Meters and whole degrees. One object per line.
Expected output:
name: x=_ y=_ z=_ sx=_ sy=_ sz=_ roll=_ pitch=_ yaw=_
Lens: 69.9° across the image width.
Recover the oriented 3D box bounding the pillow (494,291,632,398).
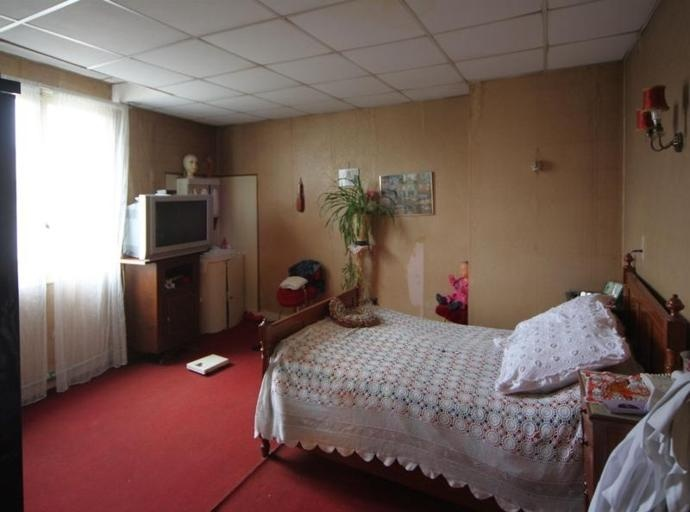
pillow: x=1.411 y=0.574 z=3.281 sx=0.751 sy=0.471 sz=0.753 roll=6 pitch=15 yaw=18

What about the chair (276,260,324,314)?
chair: x=-0.521 y=0.350 z=5.879 sx=0.442 sy=0.579 sz=0.606 roll=0 pitch=5 yaw=38

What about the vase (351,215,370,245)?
vase: x=0.185 y=-0.299 z=5.449 sx=0.191 sy=0.341 sz=0.134 roll=-4 pitch=14 yaw=-18

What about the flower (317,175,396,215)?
flower: x=0.082 y=-0.621 z=5.569 sx=0.512 sy=0.266 sz=0.539 roll=4 pitch=5 yaw=31

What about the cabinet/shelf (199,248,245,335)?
cabinet/shelf: x=-1.539 y=0.441 z=6.054 sx=0.443 sy=0.916 sz=0.881 roll=1 pitch=6 yaw=8

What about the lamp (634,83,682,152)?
lamp: x=2.008 y=-0.872 z=3.146 sx=0.261 sy=0.418 sz=0.445 roll=7 pitch=16 yaw=26

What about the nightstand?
nightstand: x=1.445 y=0.978 z=2.625 sx=0.425 sy=0.760 sz=0.451 roll=8 pitch=15 yaw=29
